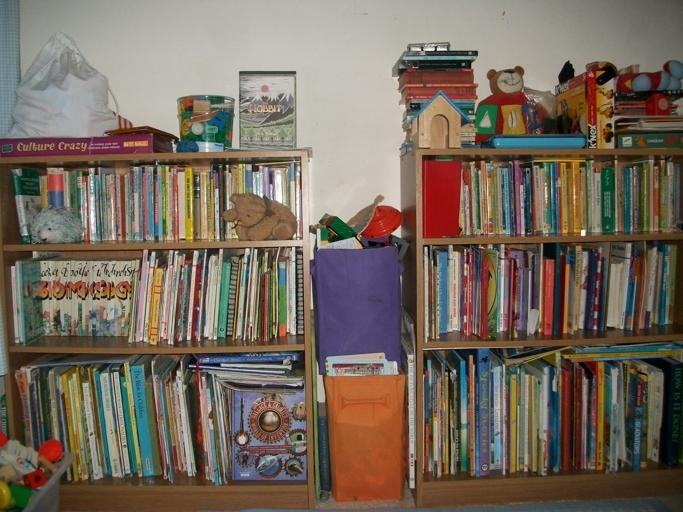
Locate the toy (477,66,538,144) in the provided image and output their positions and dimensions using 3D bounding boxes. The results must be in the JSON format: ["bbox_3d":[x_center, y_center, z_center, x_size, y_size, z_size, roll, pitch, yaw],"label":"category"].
[{"bbox_3d":[0.714,-0.648,3.384,0.302,0.370,0.184,-3,18,-1],"label":"toy"}]
